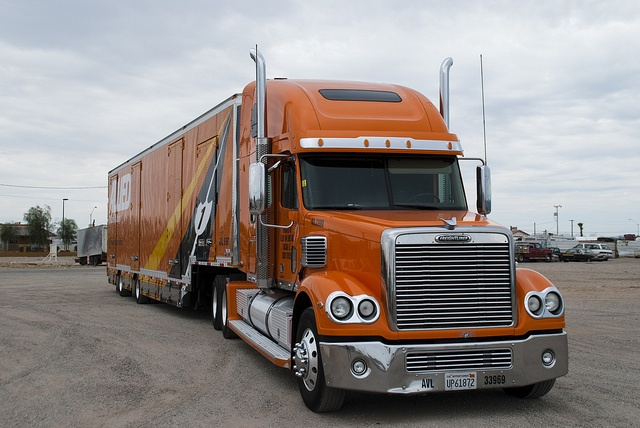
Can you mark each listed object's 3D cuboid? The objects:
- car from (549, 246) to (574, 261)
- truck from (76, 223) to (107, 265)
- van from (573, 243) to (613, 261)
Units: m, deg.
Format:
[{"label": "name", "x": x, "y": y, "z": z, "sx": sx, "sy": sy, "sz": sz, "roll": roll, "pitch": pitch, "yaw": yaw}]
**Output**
[{"label": "car", "x": 28.240, "y": 4.892, "z": 54.817, "sx": 1.761, "sy": 1.579, "sz": 3.058, "roll": 0, "pitch": -7, "yaw": -18}, {"label": "truck", "x": -25.824, "y": 3.815, "z": 54.217, "sx": 6.882, "sy": 4.196, "sz": 2.404, "roll": -8, "pitch": -10, "yaw": 43}, {"label": "van", "x": 31.606, "y": 4.223, "z": 54.788, "sx": 2.298, "sy": 1.876, "sz": 3.990, "roll": 0, "pitch": 3, "yaw": -11}]
